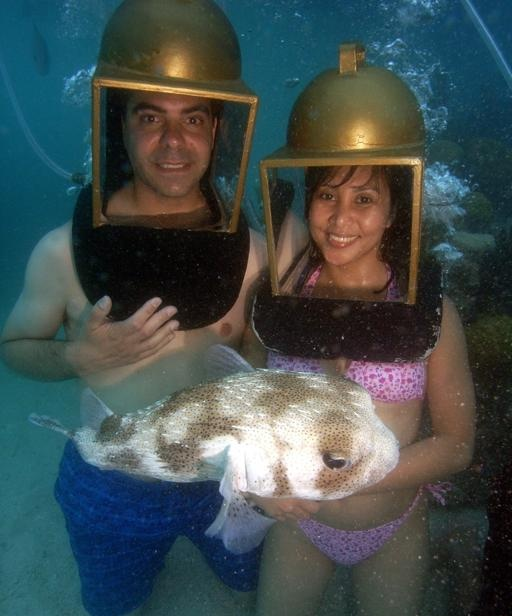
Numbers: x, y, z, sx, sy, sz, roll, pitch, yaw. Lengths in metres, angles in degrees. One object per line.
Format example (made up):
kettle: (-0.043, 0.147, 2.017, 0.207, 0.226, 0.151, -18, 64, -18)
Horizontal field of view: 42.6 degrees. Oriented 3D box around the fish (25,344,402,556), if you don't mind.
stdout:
fish: (-0.085, 0.451, 2.185, 0.909, 0.469, 0.608, 18, 35, 33)
